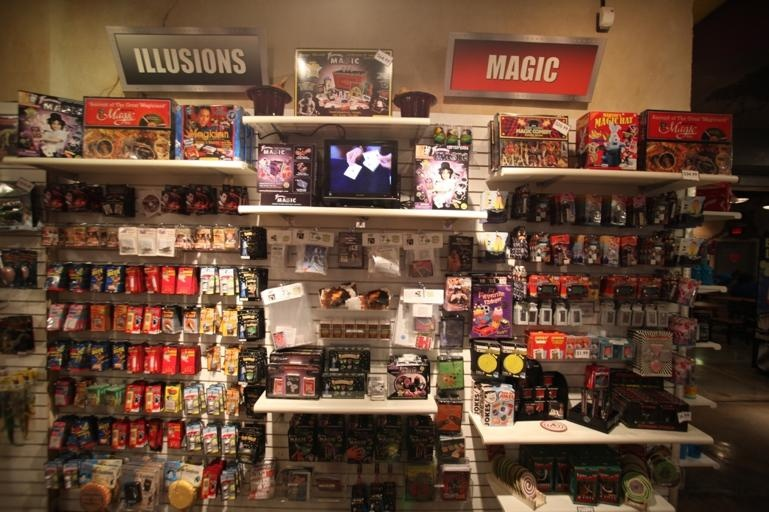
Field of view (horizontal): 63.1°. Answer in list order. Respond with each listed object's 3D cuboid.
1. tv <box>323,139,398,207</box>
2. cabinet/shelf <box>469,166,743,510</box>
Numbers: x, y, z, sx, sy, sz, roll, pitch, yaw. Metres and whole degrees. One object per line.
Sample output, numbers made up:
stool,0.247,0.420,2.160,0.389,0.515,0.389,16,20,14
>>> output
tv,-0.245,-0.866,6.631,0.801,0.596,0.242,0,-5,-1
cabinet/shelf,2.216,0.888,6.816,2.405,3.629,0.807,0,7,1
